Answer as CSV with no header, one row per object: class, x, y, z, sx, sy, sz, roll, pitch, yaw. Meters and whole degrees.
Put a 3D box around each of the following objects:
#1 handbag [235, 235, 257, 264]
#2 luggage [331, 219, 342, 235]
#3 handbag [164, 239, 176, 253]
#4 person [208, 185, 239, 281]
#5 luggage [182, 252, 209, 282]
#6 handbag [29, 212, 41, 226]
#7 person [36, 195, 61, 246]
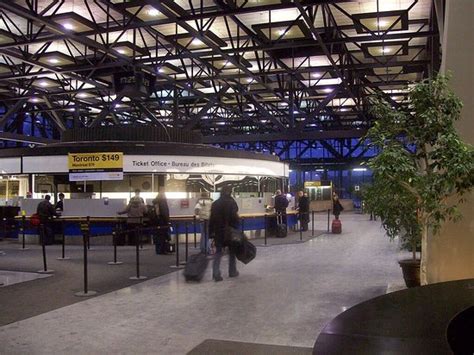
handbag,0.207,1.762,9.981,0.517,0.687,0.231,-2,0,-22
luggage,4.546,2.245,19.125,0.520,0.675,0.715,-2,-2,45
handbag,-2.122,2.193,13.256,0.397,0.526,0.392,-4,-14,13
person,-0.294,1.267,9.604,0.657,2.130,0.414,0,-1,-4
luggage,-0.889,2.058,9.601,0.396,0.272,0.665,1,19,16
handbag,-7.009,1.471,14.621,0.317,0.417,0.576,0,-1,-42
person,-6.867,1.436,15.176,0.857,1.610,0.725,4,13,-22
